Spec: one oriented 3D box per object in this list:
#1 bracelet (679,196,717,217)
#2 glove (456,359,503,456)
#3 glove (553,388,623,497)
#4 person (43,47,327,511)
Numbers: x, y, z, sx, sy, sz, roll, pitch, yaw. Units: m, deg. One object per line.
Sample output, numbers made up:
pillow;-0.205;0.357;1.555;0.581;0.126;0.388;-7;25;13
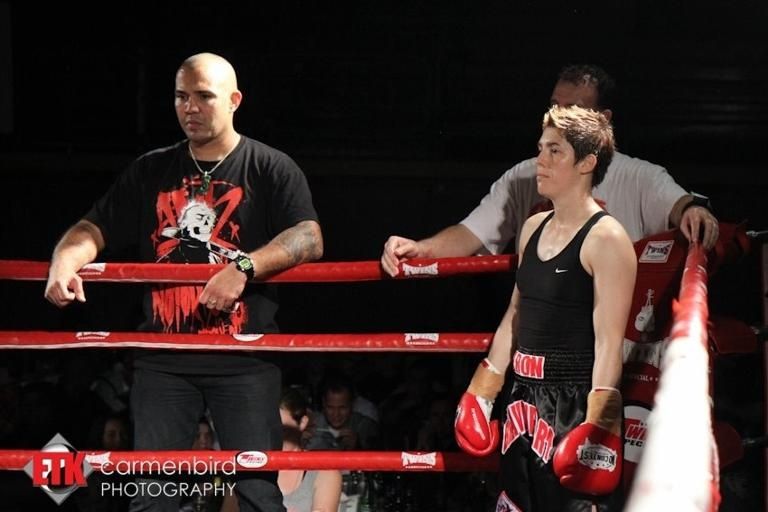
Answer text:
bracelet;1.585;-0.237;3.799;0.113;0.094;0.115;2;-1;18
glove;0.446;0.734;3.653;0.237;0.408;0.159;20;-19;-23
glove;0.917;0.812;3.431;0.328;0.437;0.152;5;-1;1
person;-1.000;0.214;4.045;1.273;2.560;0.723;7;9;13
